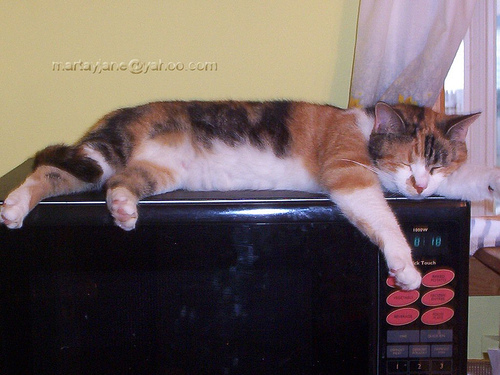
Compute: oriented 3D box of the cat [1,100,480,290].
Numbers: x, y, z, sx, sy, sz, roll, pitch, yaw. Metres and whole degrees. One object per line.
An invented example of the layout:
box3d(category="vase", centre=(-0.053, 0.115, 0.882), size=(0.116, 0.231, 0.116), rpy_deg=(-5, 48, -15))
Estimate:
box3d(category="cat", centre=(0.031, -0.084, 1.662), size=(0.941, 0.318, 0.602), rpy_deg=(-2, 35, -2))
